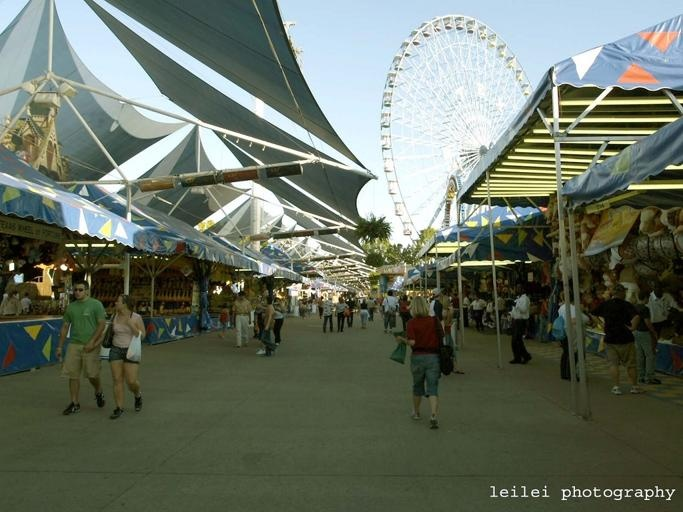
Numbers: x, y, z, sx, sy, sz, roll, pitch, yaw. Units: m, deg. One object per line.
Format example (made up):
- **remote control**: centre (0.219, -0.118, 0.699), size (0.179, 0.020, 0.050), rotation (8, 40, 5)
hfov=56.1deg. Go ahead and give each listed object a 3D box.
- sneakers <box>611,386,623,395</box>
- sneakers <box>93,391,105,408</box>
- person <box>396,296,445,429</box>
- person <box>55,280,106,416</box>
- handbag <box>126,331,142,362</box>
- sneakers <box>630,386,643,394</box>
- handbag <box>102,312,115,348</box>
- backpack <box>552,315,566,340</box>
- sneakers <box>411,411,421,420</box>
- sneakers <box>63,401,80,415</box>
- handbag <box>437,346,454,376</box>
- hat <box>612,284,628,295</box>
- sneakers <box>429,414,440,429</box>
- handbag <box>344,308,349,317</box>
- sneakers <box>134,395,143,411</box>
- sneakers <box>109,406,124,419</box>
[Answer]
- **sneakers**: centre (5.009, 2.430, 11.624), size (0.106, 0.127, 0.260), rotation (-2, -1, 13)
- **sneakers**: centre (-4.068, 2.406, 10.819), size (0.120, 0.146, 0.338), rotation (7, 11, 1)
- **person**: centre (1.308, 1.648, 10.308), size (0.654, 2.013, 1.031), rotation (1, -6, 9)
- **person**: centre (-4.256, 1.484, 10.536), size (0.768, 2.151, 0.490), rotation (5, -7, -22)
- **handbag**: centre (-3.360, 1.470, 10.369), size (0.207, 0.465, 0.088), rotation (7, -8, -37)
- **sneakers**: centre (5.343, 2.418, 11.591), size (0.214, 0.110, 0.091), rotation (4, -4, -45)
- **handbag**: centre (-3.811, 1.230, 10.465), size (0.161, 0.550, 0.279), rotation (5, -7, -22)
- **backpack**: centre (4.471, 1.453, 13.081), size (0.238, 0.472, 0.647), rotation (0, -6, 19)
- **sneakers**: centre (1.217, 2.527, 10.314), size (0.152, 0.173, 0.334), rotation (2, -6, 6)
- **sneakers**: centre (-4.372, 2.461, 10.379), size (0.241, 0.191, 0.282), rotation (5, -6, -24)
- **handbag**: centre (1.709, 1.682, 10.366), size (0.172, 0.494, 0.382), rotation (0, -6, 17)
- **hat**: centre (5.134, 0.607, 11.780), size (0.216, 0.221, 0.223), rotation (0, -4, -2)
- **sneakers**: centre (1.414, 2.547, 9.787), size (0.163, 0.305, 0.169), rotation (1, -11, -1)
- **handbag**: centre (0.252, 2.681, 30.641), size (0.268, 0.253, 0.542), rotation (17, 18, -4)
- **sneakers**: centre (-3.390, 2.418, 10.636), size (0.108, 0.135, 0.330), rotation (-1, 8, -5)
- **sneakers**: centre (-3.558, 2.479, 10.143), size (0.096, 0.134, 0.272), rotation (6, 0, 0)
